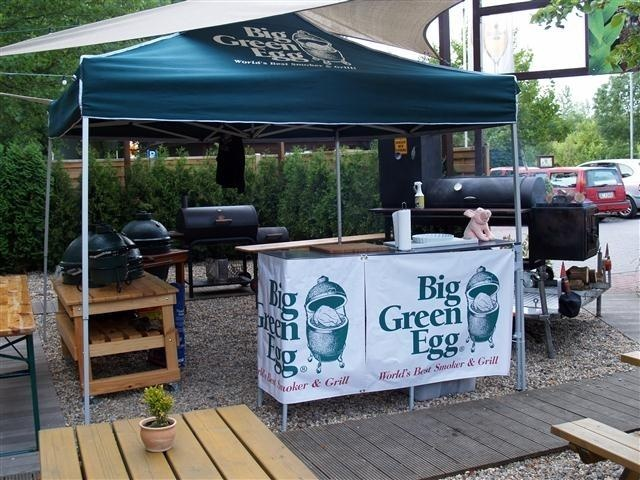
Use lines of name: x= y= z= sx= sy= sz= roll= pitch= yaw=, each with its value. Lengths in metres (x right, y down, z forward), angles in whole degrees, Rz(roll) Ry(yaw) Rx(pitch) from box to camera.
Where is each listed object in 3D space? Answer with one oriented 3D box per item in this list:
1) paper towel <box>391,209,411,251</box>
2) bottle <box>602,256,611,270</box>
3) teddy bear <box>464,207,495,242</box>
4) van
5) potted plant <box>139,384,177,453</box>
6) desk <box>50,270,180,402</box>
paper towel: x=0.785 y=-0.086 z=5.427 sx=0.180 sy=0.376 sz=0.199 roll=-2 pitch=1 yaw=-11
bottle: x=3.781 y=0.321 z=7.586 sx=0.080 sy=0.173 sz=0.091 roll=-1 pitch=5 yaw=23
teddy bear: x=1.604 y=-0.165 z=5.857 sx=0.313 sy=0.342 sz=0.314 roll=-8 pitch=8 yaw=-36
van: x=4.893 y=-0.990 z=11.506 sx=2.994 sy=1.093 sz=1.703 roll=7 pitch=11 yaw=35
potted plant: x=-0.947 y=1.062 z=3.427 sx=0.252 sy=0.366 sz=0.217 roll=-7 pitch=-6 yaw=14
desk: x=-2.135 y=0.974 z=6.042 sx=1.013 sy=1.067 sz=1.535 roll=-6 pitch=5 yaw=-31
